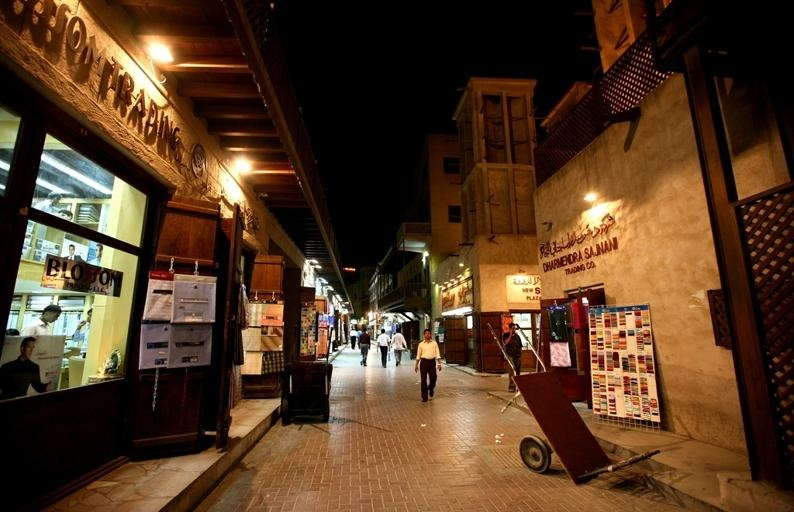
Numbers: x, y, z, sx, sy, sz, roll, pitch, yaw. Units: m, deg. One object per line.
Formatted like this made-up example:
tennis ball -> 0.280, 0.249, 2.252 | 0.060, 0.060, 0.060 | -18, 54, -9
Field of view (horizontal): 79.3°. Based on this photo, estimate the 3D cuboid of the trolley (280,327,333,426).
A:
trolley -> -1.865, 2.698, 10.154 | 0.854, 1.370, 1.390 | 1, 0, -5

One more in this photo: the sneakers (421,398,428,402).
sneakers -> 0.665, 3.543, 11.818 | 0.171, 0.087, 0.303 | -2, -2, 5
